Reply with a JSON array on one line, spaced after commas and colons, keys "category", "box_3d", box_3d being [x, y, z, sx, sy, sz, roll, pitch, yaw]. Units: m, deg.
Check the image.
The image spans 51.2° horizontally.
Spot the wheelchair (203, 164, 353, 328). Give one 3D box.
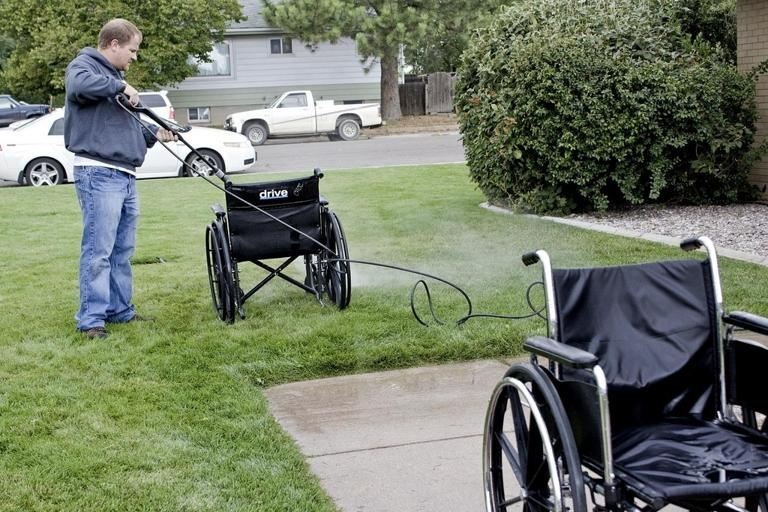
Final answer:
[{"category": "wheelchair", "box_3d": [-0.990, -0.116, 7.538, 1.298, 1.364, 0.777, -3, 8, -15]}]

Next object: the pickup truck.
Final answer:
[{"category": "pickup truck", "box_3d": [-2.479, -4.272, 25.805, 4.619, 1.609, 1.904, -4, -2, -5]}]

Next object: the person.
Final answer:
[{"category": "person", "box_3d": [-2.377, -0.685, 7.034, 0.756, 2.726, 0.653, -4, 8, -22]}]
